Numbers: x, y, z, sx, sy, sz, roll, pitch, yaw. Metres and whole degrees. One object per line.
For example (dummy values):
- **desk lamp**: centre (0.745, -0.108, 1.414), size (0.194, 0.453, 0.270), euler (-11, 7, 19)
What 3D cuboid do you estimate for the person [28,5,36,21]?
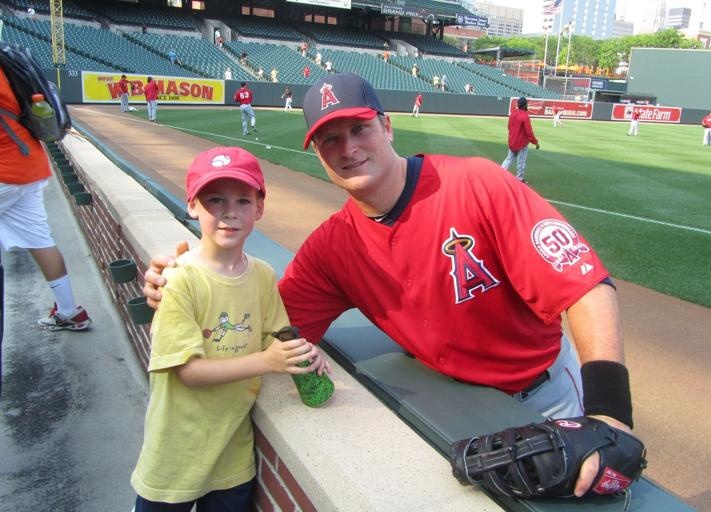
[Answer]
- **person**: centre (-19.842, -14.749, 29.882), size (0.430, 0.583, 0.710), euler (-14, 25, -37)

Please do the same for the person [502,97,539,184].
- **person**: centre (3.669, -2.506, 10.583), size (0.793, 1.653, 0.698), euler (-20, 31, -25)

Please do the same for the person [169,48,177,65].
- **person**: centre (-11.407, -12.257, 30.470), size (0.591, 0.822, 1.736), euler (-5, 21, -18)

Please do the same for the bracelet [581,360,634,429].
- **bracelet**: centre (0.851, 0.501, 1.809), size (0.210, 0.224, 0.212), euler (3, -13, -2)

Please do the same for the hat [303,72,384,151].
- **hat**: centre (-0.088, -0.689, 2.210), size (0.330, 0.227, 0.447), euler (-18, 13, 12)

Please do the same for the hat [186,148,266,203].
- **hat**: centre (-0.556, -0.346, 2.047), size (0.306, 0.198, 0.386), euler (-8, 7, -21)

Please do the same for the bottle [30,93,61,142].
- **bottle**: centre (-2.426, -1.084, 3.792), size (0.159, 0.380, 0.185), euler (0, 48, -18)

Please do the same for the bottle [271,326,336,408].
- **bottle**: centre (-0.214, 0.437, 1.976), size (0.248, 0.309, 0.132), euler (0, 20, -4)

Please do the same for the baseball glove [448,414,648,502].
- **baseball glove**: centre (0.628, 0.640, 1.619), size (0.500, 0.190, 0.293), euler (-4, 36, 3)
